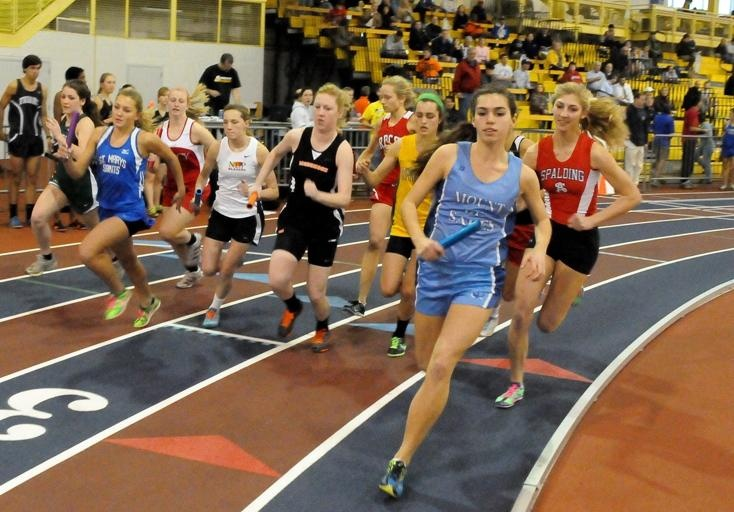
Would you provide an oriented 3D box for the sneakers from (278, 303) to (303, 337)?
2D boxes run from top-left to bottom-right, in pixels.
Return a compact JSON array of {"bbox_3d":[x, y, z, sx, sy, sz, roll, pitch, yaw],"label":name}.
[{"bbox_3d":[-0.785,0.641,6.111,0.144,0.415,0.174,25,3,-3],"label":"sneakers"}]

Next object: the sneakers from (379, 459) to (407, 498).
[{"bbox_3d":[0.163,1.364,3.734,0.159,0.247,0.104,21,-21,6],"label":"sneakers"}]

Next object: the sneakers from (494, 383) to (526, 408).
[{"bbox_3d":[1.176,1.107,5.031,0.117,0.131,0.331,10,15,38],"label":"sneakers"}]

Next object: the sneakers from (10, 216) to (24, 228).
[{"bbox_3d":[-5.895,-0.568,10.229,0.184,0.159,0.215,-8,18,-37],"label":"sneakers"}]

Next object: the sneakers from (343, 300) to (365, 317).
[{"bbox_3d":[-0.116,0.568,6.733,0.282,0.124,0.104,17,2,6],"label":"sneakers"}]

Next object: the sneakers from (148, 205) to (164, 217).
[{"bbox_3d":[-2.253,-0.434,6.502,0.156,0.152,0.422,-1,13,-18],"label":"sneakers"}]

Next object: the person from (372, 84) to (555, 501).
[{"bbox_3d":[0.613,0.061,3.991,1.204,2.255,0.709,-5,16,-28],"label":"person"}]

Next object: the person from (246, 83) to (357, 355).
[{"bbox_3d":[-0.586,-0.332,5.728,0.898,2.450,1.003,-4,16,-23],"label":"person"}]
